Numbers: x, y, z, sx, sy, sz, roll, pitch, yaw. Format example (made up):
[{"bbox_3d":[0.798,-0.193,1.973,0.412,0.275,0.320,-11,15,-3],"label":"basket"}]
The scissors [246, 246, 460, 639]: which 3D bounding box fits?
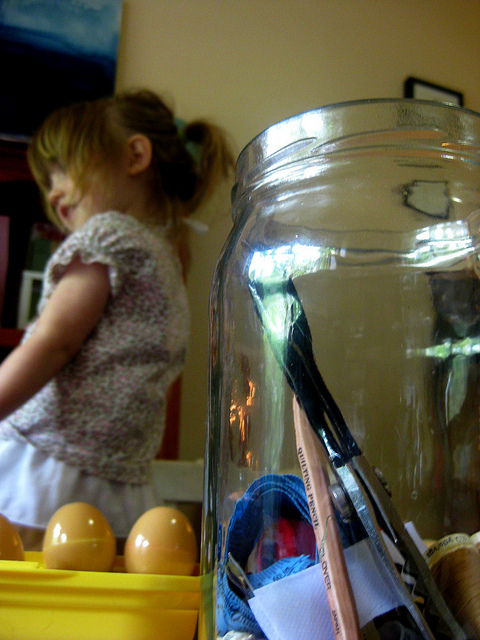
[{"bbox_3d":[0.046,0.047,0.223,0.020,0.163,0.013,7,-39,-30],"label":"scissors"}]
